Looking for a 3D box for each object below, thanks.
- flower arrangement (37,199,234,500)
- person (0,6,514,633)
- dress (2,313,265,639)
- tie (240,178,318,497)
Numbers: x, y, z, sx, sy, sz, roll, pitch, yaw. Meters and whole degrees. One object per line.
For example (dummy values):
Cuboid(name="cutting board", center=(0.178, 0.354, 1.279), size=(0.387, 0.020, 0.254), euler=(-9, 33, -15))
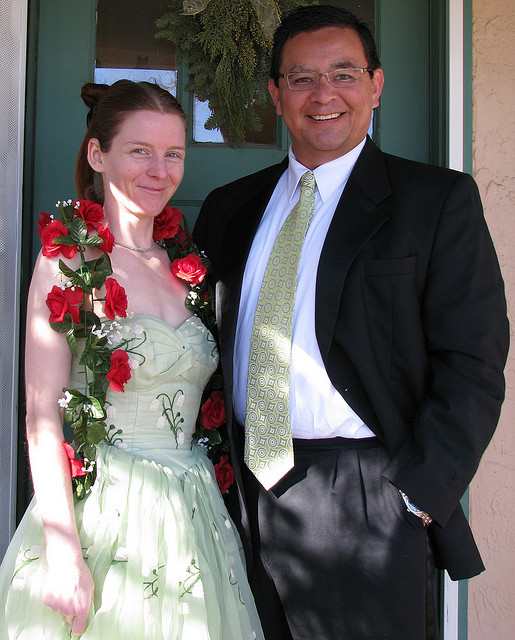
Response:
Cuboid(name="flower arrangement", center=(-0.369, 0.003, 1.438), size=(0.234, 0.790, 0.590), euler=(-7, -12, 38))
Cuboid(name="person", center=(-0.038, 0.025, 1.460), size=(1.051, 1.647, 0.761), euler=(2, 10, -21))
Cuboid(name="dress", center=(-0.251, 0.390, 1.352), size=(0.443, 0.765, 0.580), euler=(14, 12, 40))
Cuboid(name="tie", center=(0.067, 0.026, 1.505), size=(0.163, 0.757, 0.040), euler=(0, -18, 27))
